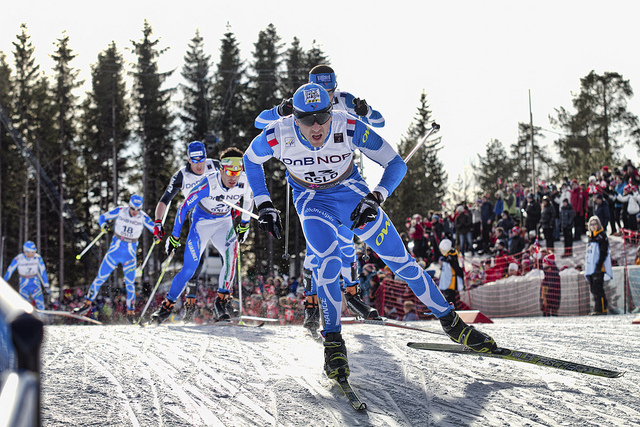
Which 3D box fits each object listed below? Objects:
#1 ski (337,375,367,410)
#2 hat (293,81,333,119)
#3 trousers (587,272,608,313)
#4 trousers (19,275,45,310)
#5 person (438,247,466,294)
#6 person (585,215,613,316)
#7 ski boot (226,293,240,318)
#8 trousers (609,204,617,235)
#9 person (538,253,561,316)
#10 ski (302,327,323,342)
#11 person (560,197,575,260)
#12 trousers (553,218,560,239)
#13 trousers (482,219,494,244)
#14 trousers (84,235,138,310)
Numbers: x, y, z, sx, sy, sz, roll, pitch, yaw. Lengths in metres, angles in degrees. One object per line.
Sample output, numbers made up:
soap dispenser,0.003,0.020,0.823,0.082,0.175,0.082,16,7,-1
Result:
ski,0.492,3.026,13.800,0.186,0.206,1.150,-4,33,-19
hat,-0.173,-2.051,14.622,0.409,0.535,0.591,-6,-3,-3
trousers,7.219,2.019,21.140,0.519,1.079,0.399,2,5,13
trousers,-8.575,2.369,24.194,0.744,1.109,0.673,-4,7,-39
person,3.611,1.751,22.703,0.857,1.876,1.513,2,-1,8
person,7.211,1.341,20.997,0.637,2.545,0.567,2,5,13
ski boot,-1.980,2.184,18.430,0.245,0.567,0.311,-13,44,-14
trousers,9.003,0.186,24.982,0.209,0.920,0.505,2,5,17
person,6.431,2.035,22.714,0.613,1.594,0.369,2,5,15
ski,-0.128,2.376,16.145,0.168,0.177,0.275,-11,44,-21
person,7.690,0.456,25.313,0.403,1.842,0.896,2,5,17
trousers,7.719,0.478,26.484,0.149,0.676,0.162,2,5,19
trousers,5.797,0.614,28.051,0.383,0.781,0.456,2,5,12
trousers,-5.241,1.494,20.877,1.115,1.874,0.929,2,5,11
